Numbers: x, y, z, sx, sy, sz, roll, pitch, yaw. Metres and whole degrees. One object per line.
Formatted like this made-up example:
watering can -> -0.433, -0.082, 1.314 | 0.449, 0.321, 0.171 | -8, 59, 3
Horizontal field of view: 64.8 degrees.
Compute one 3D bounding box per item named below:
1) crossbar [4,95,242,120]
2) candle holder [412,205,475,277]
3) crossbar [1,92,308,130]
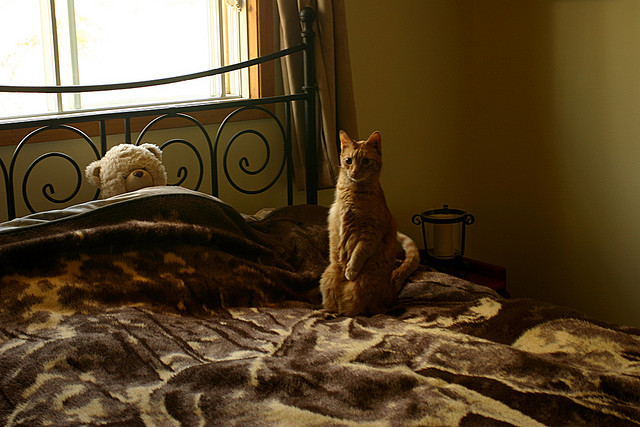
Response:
crossbar -> -0.939, -0.482, 2.305 | 0.421, 0.061, 1.313 | 5, 11, 42
candle holder -> 0.639, 0.084, 2.737 | 0.315, 0.446, 0.332 | 0, 9, 4
crossbar -> -0.689, -0.473, 2.280 | 1.286, 0.090, 0.192 | -9, 18, -24
